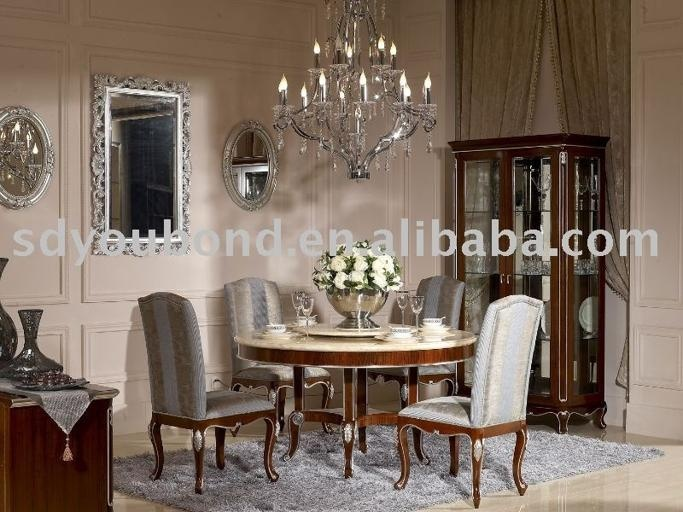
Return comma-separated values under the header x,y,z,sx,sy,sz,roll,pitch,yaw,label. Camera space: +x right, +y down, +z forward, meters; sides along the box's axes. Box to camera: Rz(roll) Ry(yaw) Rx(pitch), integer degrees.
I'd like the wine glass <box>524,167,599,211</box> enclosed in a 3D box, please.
x,y,z,sx,sy,sz,roll,pitch,yaw,label
1.983,-0.605,5.456,0.633,0.423,0.228,0,1,-10,wine glass

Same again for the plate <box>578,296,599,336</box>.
x,y,z,sx,sy,sz,roll,pitch,yaw,label
2.178,0.518,5.457,0.228,0.333,0.042,0,2,-31,plate

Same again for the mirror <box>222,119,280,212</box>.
x,y,z,sx,sy,sz,roll,pitch,yaw,label
-0.859,-0.850,5.717,0.067,1.014,0.768,-1,0,41,mirror

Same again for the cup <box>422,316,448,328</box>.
x,y,z,sx,sy,sz,roll,pitch,yaw,label
0.692,0.475,4.455,0.162,0.083,0.135,1,-3,-12,cup

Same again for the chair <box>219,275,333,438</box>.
x,y,z,sx,sy,sz,roll,pitch,yaw,label
-0.525,0.792,5.139,0.689,1.353,0.795,0,-6,-32,chair

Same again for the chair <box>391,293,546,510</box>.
x,y,z,sx,sy,sz,roll,pitch,yaw,label
0.833,0.854,3.828,0.866,1.243,0.431,0,2,-17,chair

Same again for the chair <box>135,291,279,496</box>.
x,y,z,sx,sy,sz,roll,pitch,yaw,label
-0.901,0.869,4.089,0.742,1.312,0.638,0,-1,-41,chair

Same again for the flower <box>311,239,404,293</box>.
x,y,z,sx,sy,sz,roll,pitch,yaw,label
0.191,0.045,4.364,0.310,0.221,0.352,-15,-10,33,flower
